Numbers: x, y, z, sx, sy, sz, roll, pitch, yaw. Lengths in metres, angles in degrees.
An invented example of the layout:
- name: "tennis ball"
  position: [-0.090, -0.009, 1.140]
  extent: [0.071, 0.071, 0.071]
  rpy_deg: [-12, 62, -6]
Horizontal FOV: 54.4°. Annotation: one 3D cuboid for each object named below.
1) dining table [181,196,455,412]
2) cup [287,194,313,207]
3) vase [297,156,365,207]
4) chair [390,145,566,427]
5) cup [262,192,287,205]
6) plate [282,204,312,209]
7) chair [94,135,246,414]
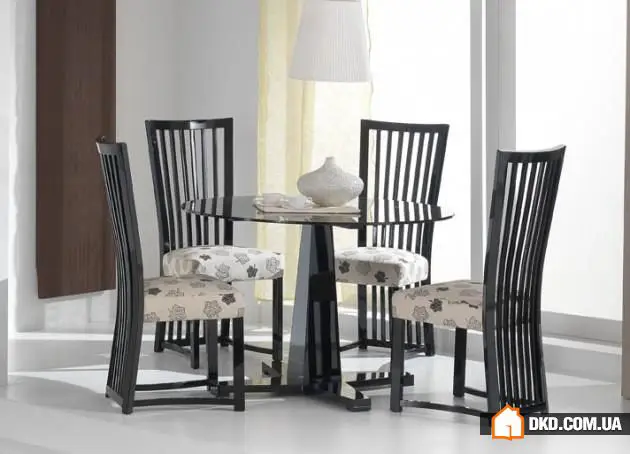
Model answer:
- name: "dining table"
  position: [0.059, 0.429, 3.121]
  extent: [1.176, 0.818, 1.177]
  rpy_deg: [5, 12, 27]
- name: "cup"
  position: [-0.071, -0.128, 2.996]
  extent: [0.097, 0.044, 0.066]
  rpy_deg: [4, -1, -5]
- name: "vase"
  position: [0.074, -0.218, 3.116]
  extent: [0.330, 0.245, 0.324]
  rpy_deg: [4, 8, -12]
- name: "chair"
  position: [0.781, 0.261, 2.989]
  extent: [0.810, 1.208, 0.777]
  rpy_deg: [2, -2, -19]
- name: "cup"
  position: [-0.197, -0.148, 3.040]
  extent: [0.099, 0.044, 0.077]
  rpy_deg: [4, 6, 22]
- name: "plate"
  position: [-0.078, -0.092, 2.991]
  extent: [0.090, 0.032, 0.056]
  rpy_deg: [2, 1, -5]
- name: "chair"
  position: [-0.685, 0.230, 2.931]
  extent: [0.683, 1.295, 0.411]
  rpy_deg: [-1, 8, -11]
